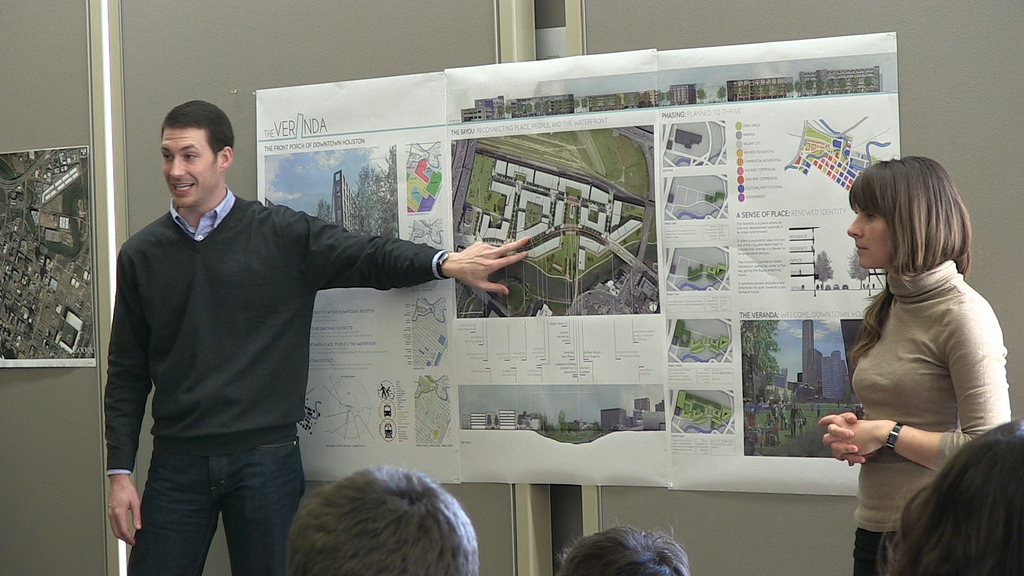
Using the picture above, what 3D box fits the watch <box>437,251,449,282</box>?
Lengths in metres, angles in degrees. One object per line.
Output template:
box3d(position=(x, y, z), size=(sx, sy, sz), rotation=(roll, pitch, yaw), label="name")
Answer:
box3d(position=(-0.323, -0.108, 4.762), size=(0.034, 0.097, 0.071), rotation=(2, 3, 26), label="watch")
